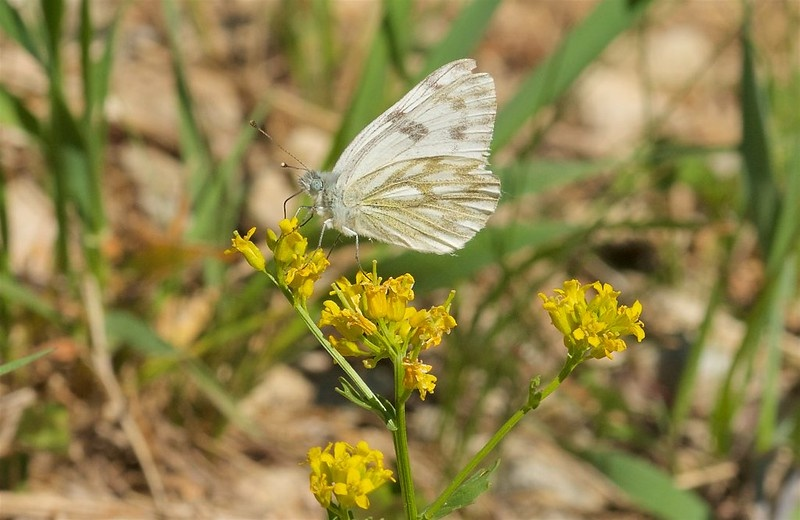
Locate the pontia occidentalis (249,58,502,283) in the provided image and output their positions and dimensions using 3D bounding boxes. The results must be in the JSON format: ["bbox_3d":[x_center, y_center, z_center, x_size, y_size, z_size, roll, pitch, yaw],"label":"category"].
[{"bbox_3d":[-0.052,-0.185,1.958,0.416,0.397,0.459,7,2,-31],"label":"pontia occidentalis"}]

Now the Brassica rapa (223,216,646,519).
[{"bbox_3d":[0.084,0.177,1.816,0.690,0.649,0.498,6,-1,3],"label":"Brassica rapa"}]
